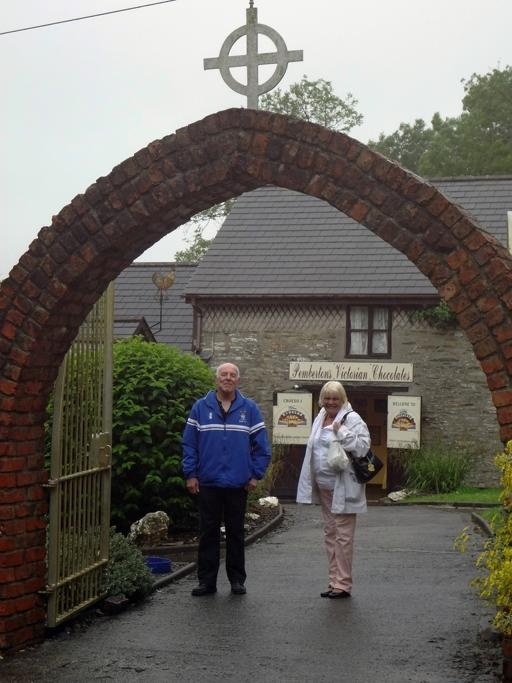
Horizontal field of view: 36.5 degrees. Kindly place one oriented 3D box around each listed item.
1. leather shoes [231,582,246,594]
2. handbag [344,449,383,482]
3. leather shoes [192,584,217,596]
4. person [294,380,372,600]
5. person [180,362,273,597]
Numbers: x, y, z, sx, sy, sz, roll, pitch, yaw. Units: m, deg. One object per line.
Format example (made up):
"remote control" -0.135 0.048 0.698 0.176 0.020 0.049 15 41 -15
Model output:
"leather shoes" -0.132 1.960 6.147 0.112 0.081 0.119 -1 -7 -3
"handbag" 0.875 1.006 6.248 0.265 0.264 0.274 -2 -7 6
"leather shoes" -0.400 1.973 6.187 0.073 0.083 0.218 -7 -16 41
"person" 0.641 1.168 6.291 0.602 1.713 0.500 -2 -7 3
"person" -0.233 1.093 6.262 0.708 1.833 0.377 -1 -7 -1
